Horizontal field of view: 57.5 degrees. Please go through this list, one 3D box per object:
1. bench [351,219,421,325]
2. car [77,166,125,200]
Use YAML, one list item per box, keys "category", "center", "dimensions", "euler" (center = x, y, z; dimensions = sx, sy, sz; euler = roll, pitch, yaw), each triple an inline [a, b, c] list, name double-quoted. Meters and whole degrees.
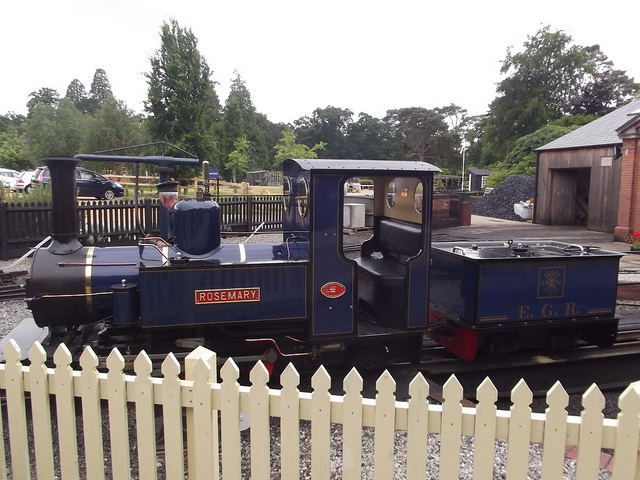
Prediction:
- category: "bench"
  center: [0.923, 0.416, 8.216]
  dimensions: [0.737, 1.327, 1.219]
  euler: [-3, 6, -12]
- category: "car"
  center: [-9.006, -2.196, 23.642]
  dimensions: [2.510, 1.187, 1.447]
  euler: [-4, 11, -25]
